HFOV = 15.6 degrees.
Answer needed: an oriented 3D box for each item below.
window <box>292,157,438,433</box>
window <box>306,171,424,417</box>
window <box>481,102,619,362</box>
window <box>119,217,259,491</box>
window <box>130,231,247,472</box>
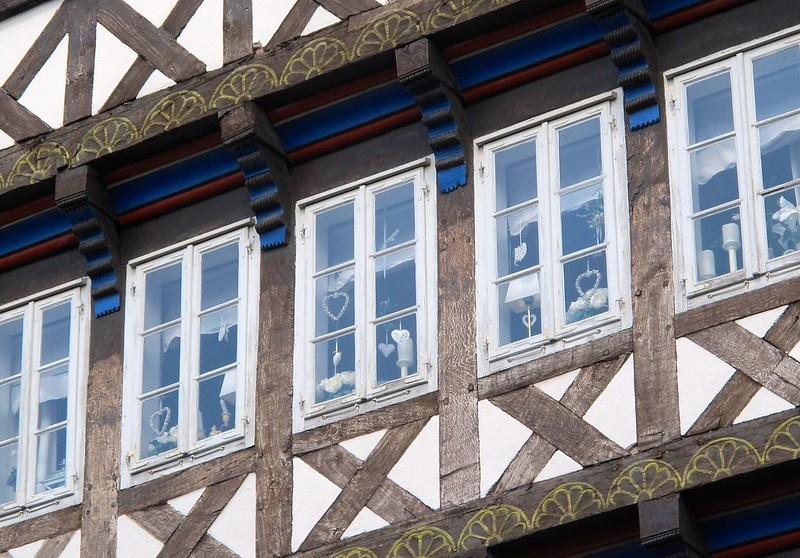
[{"bbox_3d":[-0.204,0.186,20.779,1.566,2.120,0.198,-18,-36,27],"label":"window"},{"bbox_3d":[-0.210,0.172,20.790,1.366,1.904,0.197,-19,-36,26],"label":"window"},{"bbox_3d":[1.093,-0.258,20.332,1.438,2.097,0.164,-18,-36,25],"label":"window"},{"bbox_3d":[-1.491,0.612,21.283,1.532,2.128,0.222,-20,-38,26],"label":"window"},{"bbox_3d":[-1.504,0.586,21.308,1.352,1.924,0.195,-19,-35,26],"label":"window"}]
